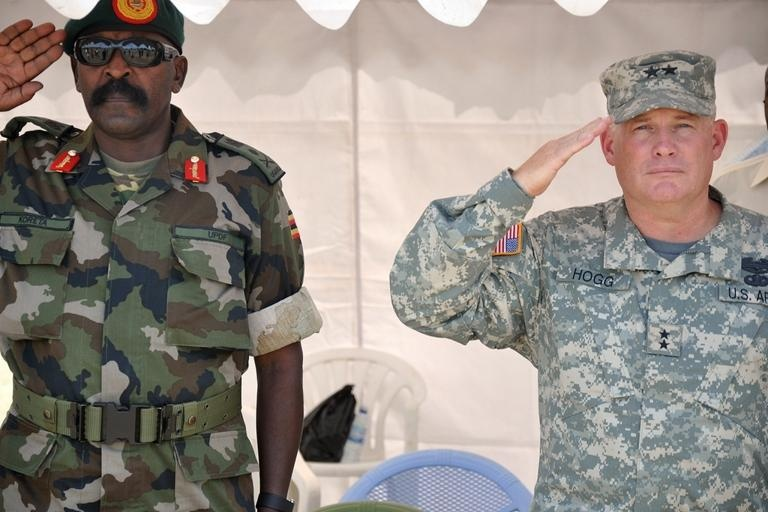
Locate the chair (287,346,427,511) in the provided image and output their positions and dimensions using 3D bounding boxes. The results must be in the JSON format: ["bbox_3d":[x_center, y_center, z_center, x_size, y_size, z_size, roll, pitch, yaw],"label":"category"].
[{"bbox_3d":[-0.060,1.138,7.149,0.990,1.223,0.891,-1,-12,1],"label":"chair"}]

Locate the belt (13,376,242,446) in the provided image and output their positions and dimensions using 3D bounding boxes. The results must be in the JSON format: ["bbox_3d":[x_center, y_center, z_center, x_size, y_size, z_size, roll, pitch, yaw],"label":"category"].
[{"bbox_3d":[-1.100,0.661,4.653,0.935,0.272,0.159,3,-20,-7],"label":"belt"}]

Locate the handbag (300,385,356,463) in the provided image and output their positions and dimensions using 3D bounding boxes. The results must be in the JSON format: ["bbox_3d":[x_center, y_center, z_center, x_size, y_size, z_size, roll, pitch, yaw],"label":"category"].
[{"bbox_3d":[-0.334,1.052,6.812,0.267,0.435,0.113,7,-24,32],"label":"handbag"}]
